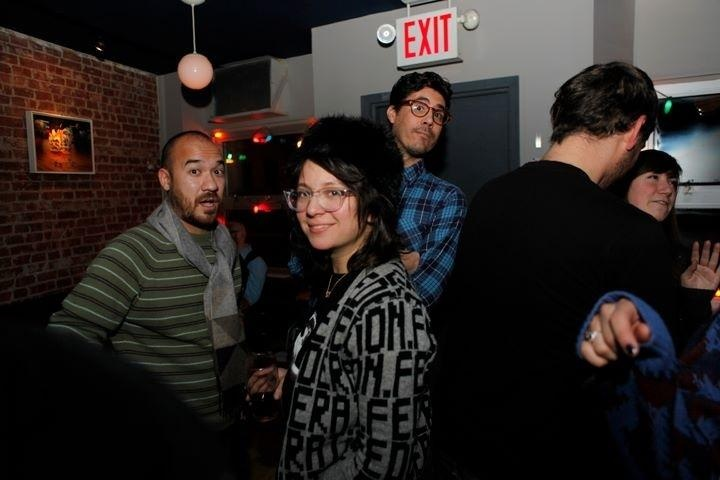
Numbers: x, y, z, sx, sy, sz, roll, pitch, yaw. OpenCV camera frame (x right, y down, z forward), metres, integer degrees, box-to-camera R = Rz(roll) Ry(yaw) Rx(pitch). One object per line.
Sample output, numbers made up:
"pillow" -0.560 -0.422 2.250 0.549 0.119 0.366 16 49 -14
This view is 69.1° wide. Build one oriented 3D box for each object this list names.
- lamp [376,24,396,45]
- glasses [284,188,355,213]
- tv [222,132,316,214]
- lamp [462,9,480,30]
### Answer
"lamp" 0.204 -1.600 4.066 0.149 0.137 0.278 1 13 0
"glasses" -0.188 -0.158 2.094 0.136 0.117 0.343 -9 16 -39
"tv" -0.827 -0.596 4.565 0.662 0.954 0.036 -18 -14 18
"lamp" 0.809 -1.604 3.834 0.129 0.131 0.081 1 5 21
